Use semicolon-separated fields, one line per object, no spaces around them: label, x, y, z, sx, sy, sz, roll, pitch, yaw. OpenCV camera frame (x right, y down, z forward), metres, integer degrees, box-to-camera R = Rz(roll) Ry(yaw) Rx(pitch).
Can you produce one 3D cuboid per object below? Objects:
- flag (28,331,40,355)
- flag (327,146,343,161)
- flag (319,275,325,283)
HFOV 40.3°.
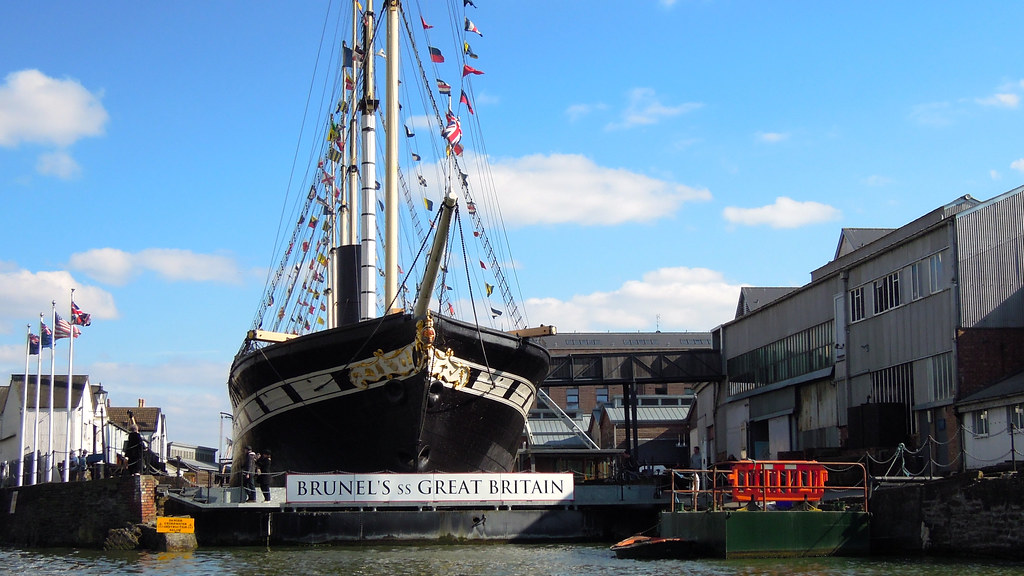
flag;-23.306;2.828;68.301;0.473;0.969;2.392;-1;1;-19
flag;-8.671;-6.557;68.253;0.915;0.672;1.200;-1;7;-34
flag;-7.787;-0.379;57.101;0.297;0.394;0.106;0;-5;-9
